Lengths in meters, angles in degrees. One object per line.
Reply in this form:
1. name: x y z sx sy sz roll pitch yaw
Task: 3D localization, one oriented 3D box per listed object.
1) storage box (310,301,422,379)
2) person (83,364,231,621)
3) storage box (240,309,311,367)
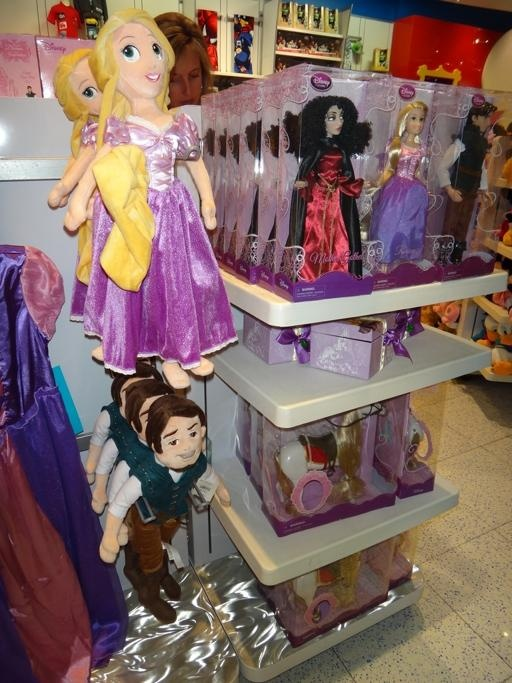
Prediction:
1. storage box: 0.253 -0.056 1.147 0.170 0.107 0.244 9 18 38
2. person: -0.226 0.462 1.205 0.296 0.818 0.303 1 24 1
3. storage box: 0.052 -0.019 1.219 0.138 0.086 0.133 -4 18 -22
